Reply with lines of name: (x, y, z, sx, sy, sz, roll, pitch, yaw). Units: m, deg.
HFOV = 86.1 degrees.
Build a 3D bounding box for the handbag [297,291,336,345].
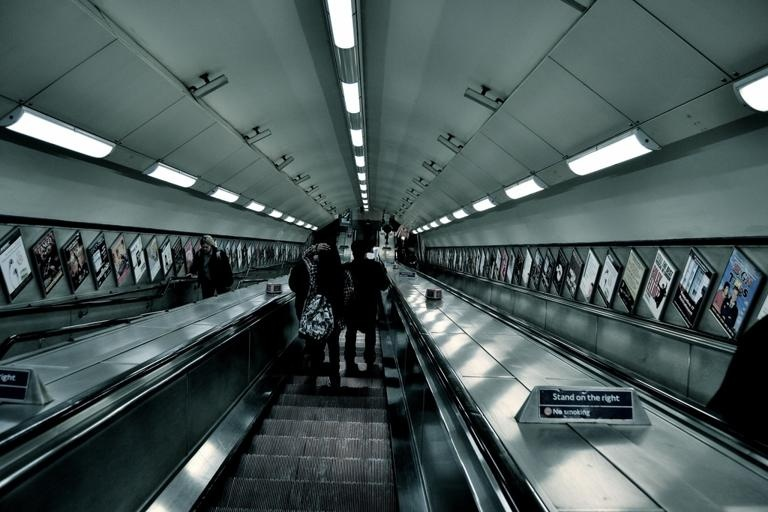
handbag: (-0.914, 0.834, 5.613, 0.434, 0.237, 0.629, 9, -84, -2)
